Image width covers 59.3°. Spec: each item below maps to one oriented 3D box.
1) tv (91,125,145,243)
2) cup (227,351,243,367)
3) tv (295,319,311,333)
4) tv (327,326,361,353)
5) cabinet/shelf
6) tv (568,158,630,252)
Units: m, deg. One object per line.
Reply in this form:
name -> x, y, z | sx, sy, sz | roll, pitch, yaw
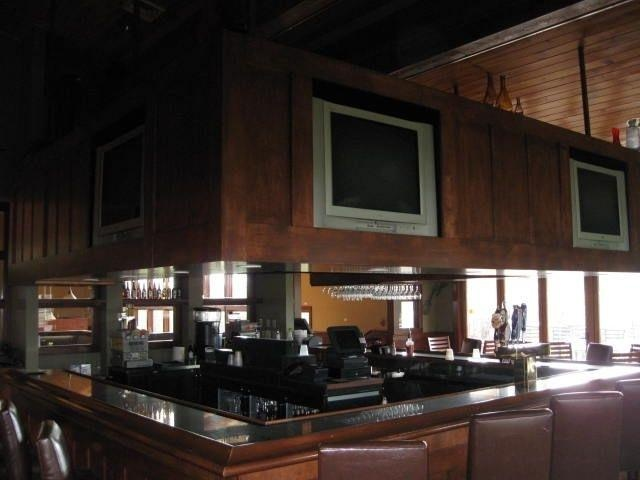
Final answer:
tv -> -1.063, -0.293, 2.976 | 0.059, 0.572, 0.565 | 9, -12, -37
cup -> -0.696, 0.975, 4.603 | 0.097, 0.125, 0.127 | 2, -8, -17
tv -> -0.241, 1.160, 7.620 | 0.208, 0.219, 0.448 | -1, -9, -3
tv -> 0.162, 0.755, 4.205 | 0.262, 0.197, 0.077 | 10, -26, -32
cabinet/shelf -> -2.491, 1.133, 7.752 | 2.508, 0.744, 0.561 | 3, -10, -29
tv -> 1.802, -0.227, 3.649 | 0.557, 0.557, 0.039 | 6, -10, -35
